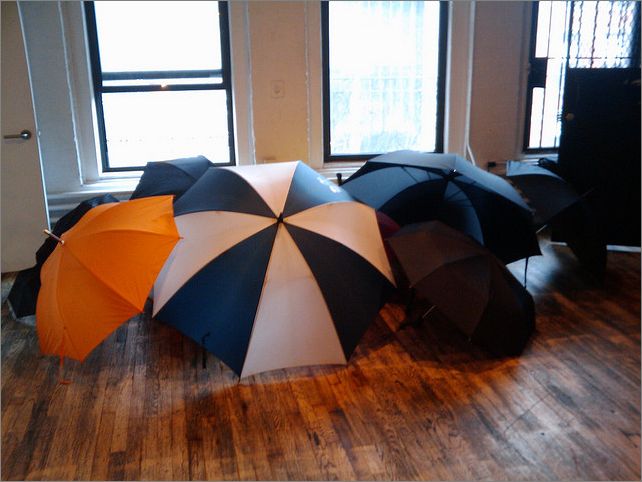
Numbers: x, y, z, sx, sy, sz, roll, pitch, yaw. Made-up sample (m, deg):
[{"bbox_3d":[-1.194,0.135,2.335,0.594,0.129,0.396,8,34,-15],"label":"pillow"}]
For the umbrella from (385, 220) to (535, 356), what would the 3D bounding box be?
[{"bbox_3d":[0.767,0.287,2.736,0.786,0.654,0.557,8,23,27],"label":"umbrella"}]

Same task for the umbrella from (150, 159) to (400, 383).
[{"bbox_3d":[-0.244,0.124,2.509,1.199,0.862,0.605,-7,20,-10],"label":"umbrella"}]

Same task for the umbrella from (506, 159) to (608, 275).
[{"bbox_3d":[1.511,-0.117,3.227,0.659,0.657,0.355,11,24,33],"label":"umbrella"}]

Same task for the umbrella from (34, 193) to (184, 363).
[{"bbox_3d":[-1.045,0.170,2.669,0.737,0.764,0.357,42,5,40],"label":"umbrella"}]
